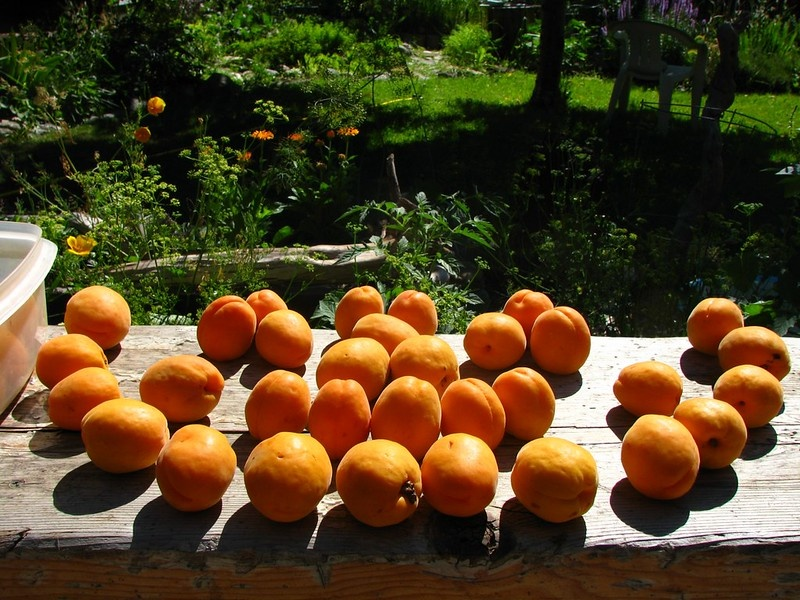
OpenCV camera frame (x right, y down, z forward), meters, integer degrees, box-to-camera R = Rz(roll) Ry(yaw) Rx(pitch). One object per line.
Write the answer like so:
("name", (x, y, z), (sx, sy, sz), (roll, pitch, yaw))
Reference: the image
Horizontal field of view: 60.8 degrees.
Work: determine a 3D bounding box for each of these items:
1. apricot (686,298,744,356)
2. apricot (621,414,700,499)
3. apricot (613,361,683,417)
("apricot", (1.023, 0.092, 2.223), (0.170, 0.231, 0.192), (6, -3, 12))
("apricot", (0.632, 0.387, 1.720), (0.157, 0.155, 0.209), (23, 44, -40))
("apricot", (0.695, 0.252, 1.918), (0.183, 0.137, 0.128), (14, 27, 15))
